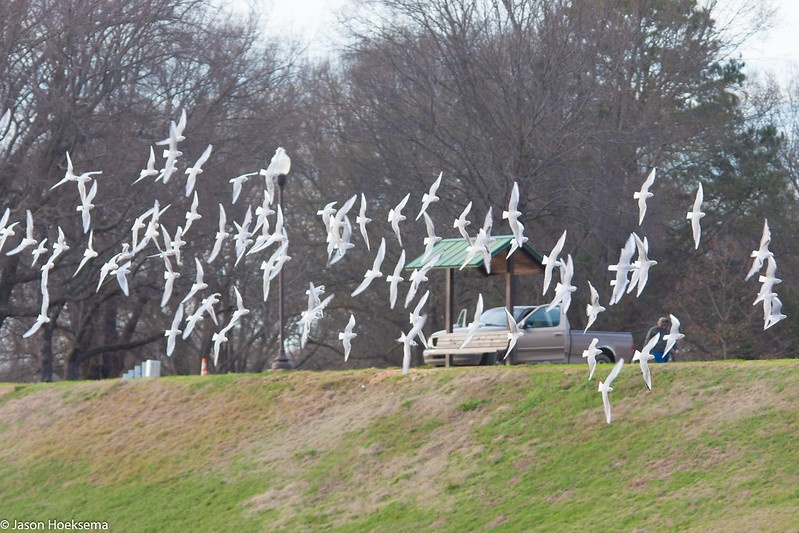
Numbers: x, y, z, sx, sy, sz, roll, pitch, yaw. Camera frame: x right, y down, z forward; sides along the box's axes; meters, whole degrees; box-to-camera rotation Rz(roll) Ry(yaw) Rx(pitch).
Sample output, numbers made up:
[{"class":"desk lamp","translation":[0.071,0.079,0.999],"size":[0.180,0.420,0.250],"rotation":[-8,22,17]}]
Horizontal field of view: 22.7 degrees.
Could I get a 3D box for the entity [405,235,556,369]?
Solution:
[{"class":"entity","translation":[2.382,1.053,64.356],"size":[3.607,4.453,3.752],"rotation":[-6,7,-38]}]
